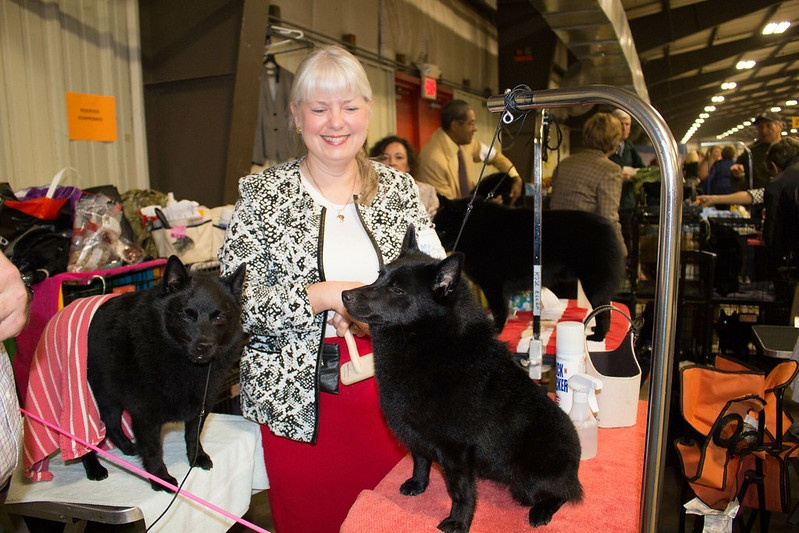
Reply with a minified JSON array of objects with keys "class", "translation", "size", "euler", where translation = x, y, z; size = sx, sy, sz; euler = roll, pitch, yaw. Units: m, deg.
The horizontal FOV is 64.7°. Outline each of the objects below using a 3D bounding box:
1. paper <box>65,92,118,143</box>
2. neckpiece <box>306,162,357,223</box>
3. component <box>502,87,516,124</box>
[{"class":"paper","translation":[-3.138,-1.492,6.395],"size":[0.067,0.472,0.506],"euler":[4,9,32]},{"class":"neckpiece","translation":[-0.410,-0.425,3.685],"size":[0.198,0.391,0.089],"euler":[-18,0,-16]},{"class":"component","translation":[0.562,-0.827,3.268],"size":[0.059,0.197,0.177],"euler":[0,5,10]}]
